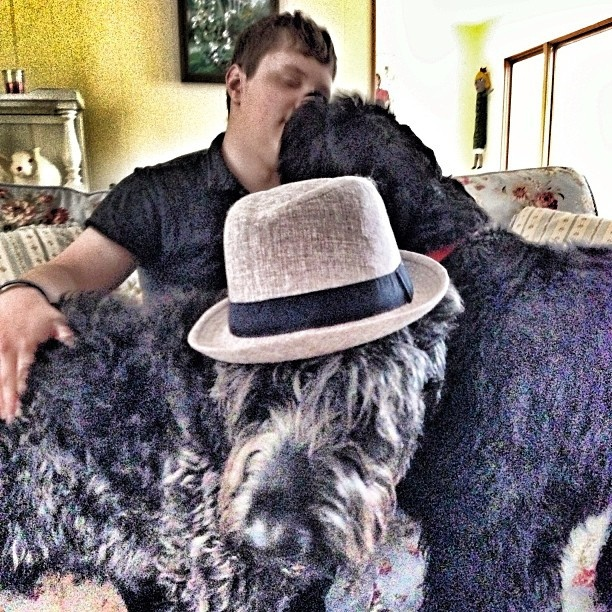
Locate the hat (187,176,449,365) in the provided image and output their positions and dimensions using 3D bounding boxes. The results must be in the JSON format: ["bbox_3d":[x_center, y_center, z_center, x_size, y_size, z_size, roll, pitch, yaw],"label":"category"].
[{"bbox_3d":[0.011,-0.064,0.956,0.342,0.205,0.386,-16,13,-26],"label":"hat"}]
